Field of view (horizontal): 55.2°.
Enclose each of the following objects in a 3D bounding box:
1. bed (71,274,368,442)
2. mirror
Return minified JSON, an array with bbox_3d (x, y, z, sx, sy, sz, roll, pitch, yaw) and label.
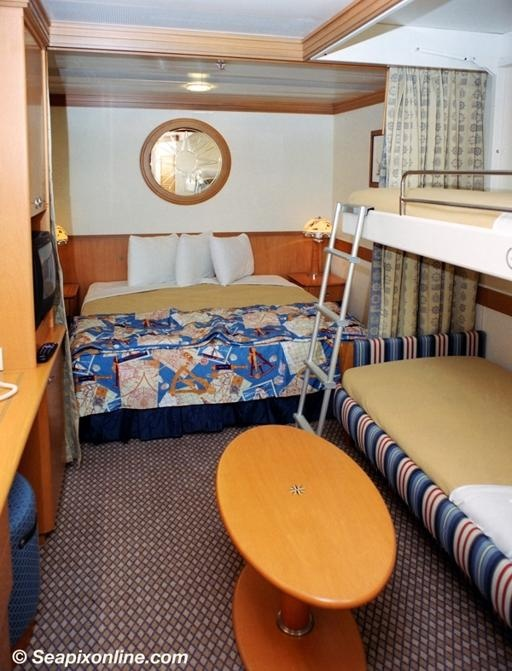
[{"bbox_3d":[-0.345,0.044,3.939,2.130,0.555,2.258,-5,14,-19],"label":"bed"},{"bbox_3d":[-0.679,-1.665,4.736,0.872,0.906,0.043,-5,-11,-5],"label":"mirror"}]
